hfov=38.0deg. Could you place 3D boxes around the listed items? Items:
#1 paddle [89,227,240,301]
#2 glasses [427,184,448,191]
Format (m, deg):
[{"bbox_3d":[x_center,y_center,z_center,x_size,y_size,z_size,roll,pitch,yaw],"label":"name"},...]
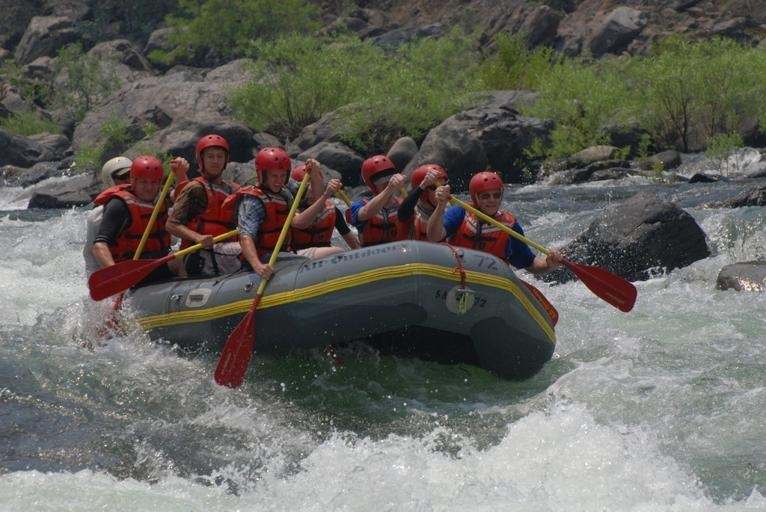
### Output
[{"bbox_3d":[-5.515,0.040,29.152,0.288,0.877,5.338,24,30,33],"label":"paddle"},{"bbox_3d":[1.352,-1.691,27.672,0.235,0.288,0.096,0,76,-6],"label":"glasses"}]
